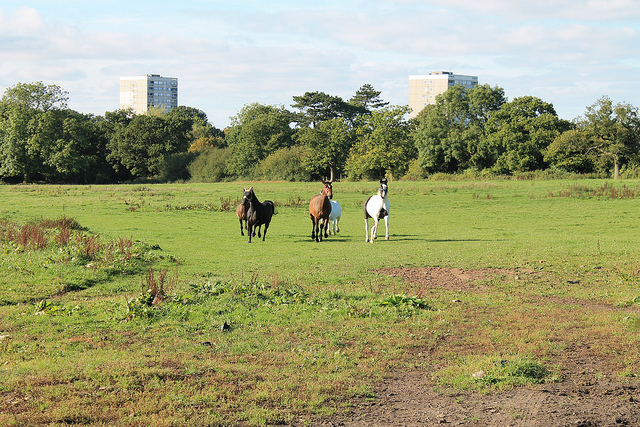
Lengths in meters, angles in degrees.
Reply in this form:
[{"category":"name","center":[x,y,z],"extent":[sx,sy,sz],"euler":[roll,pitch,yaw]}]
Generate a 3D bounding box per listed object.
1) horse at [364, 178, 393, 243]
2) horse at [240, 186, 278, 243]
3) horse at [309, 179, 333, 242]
[{"category":"horse","center":[5.079,-0.091,103.655],"extent":[1.932,4.941,7.980],"euler":[2,-6,-6]},{"category":"horse","center":[-5.303,0.257,103.122],"extent":[1.716,4.741,7.608],"euler":[4,1,18]},{"category":"horse","center":[0.115,-0.430,102.078],"extent":[1.932,5.121,2.382],"euler":[-6,13,-25]}]
